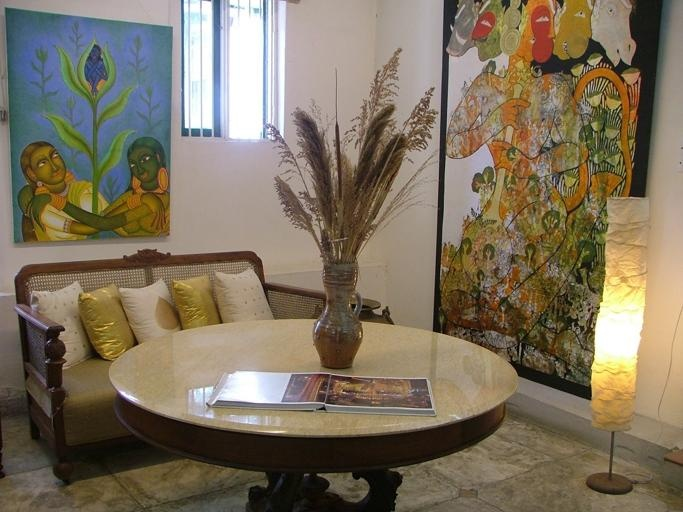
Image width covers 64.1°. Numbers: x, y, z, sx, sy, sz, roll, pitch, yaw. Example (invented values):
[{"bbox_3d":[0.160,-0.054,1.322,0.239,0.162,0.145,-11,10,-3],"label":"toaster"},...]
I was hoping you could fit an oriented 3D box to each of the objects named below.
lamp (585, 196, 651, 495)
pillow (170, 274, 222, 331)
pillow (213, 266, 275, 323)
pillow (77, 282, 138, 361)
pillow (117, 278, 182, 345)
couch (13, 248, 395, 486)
[{"bbox_3d":[1.491,0.377,2.945,0.218,1.367,0.261,4,13,11],"label":"lamp"},{"bbox_3d":[-1.015,0.319,3.669,0.193,0.354,0.381,0,5,-5],"label":"pillow"},{"bbox_3d":[-0.595,0.231,3.762,0.456,0.278,0.449,-15,-23,-11],"label":"pillow"},{"bbox_3d":[-1.390,0.405,3.246,0.183,0.335,0.379,3,10,7],"label":"pillow"},{"bbox_3d":[-1.223,0.387,3.497,0.211,0.393,0.423,-4,7,37],"label":"pillow"},{"bbox_3d":[-1.071,0.578,3.618,0.778,1.156,1.811,8,9,44],"label":"couch"}]
